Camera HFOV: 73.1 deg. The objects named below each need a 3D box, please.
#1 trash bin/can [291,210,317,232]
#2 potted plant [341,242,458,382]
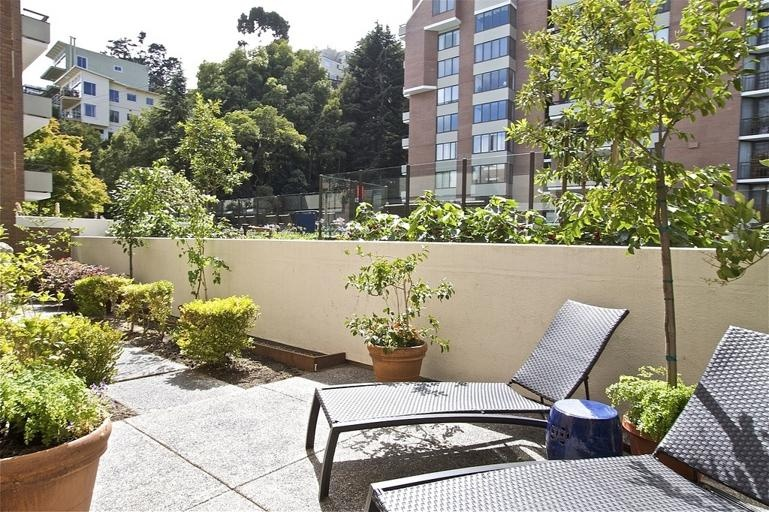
[{"bbox_3d":[-2.326,-1.006,14.885,0.451,0.820,0.838,-6,9,-39],"label":"trash bin/can"},{"bbox_3d":[0.140,0.627,6.311,1.520,1.906,1.443,0,-5,-6],"label":"potted plant"}]
